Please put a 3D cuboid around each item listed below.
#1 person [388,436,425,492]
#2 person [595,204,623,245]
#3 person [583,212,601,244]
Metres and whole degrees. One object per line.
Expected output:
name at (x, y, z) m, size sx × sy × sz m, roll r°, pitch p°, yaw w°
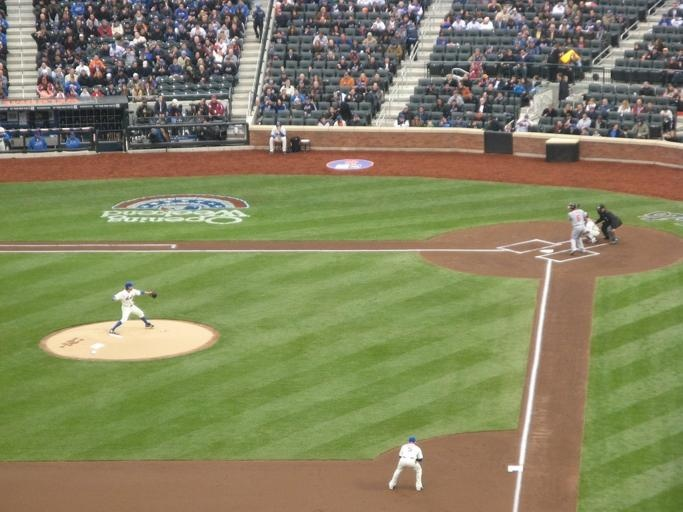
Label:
person at (1.779, 5.337, 36.645) m, size 0.911 × 1.666 × 1.366 m, roll 9°, pitch 16°, yaw 4°
person at (9.272, -1.155, 49.029) m, size 0.905 × 1.315 × 1.551 m, roll 10°, pitch 16°, yaw 9°
person at (8.618, -0.958, 49.127) m, size 0.441 × 0.962 × 0.713 m, roll -11°, pitch 25°, yaw 36°
